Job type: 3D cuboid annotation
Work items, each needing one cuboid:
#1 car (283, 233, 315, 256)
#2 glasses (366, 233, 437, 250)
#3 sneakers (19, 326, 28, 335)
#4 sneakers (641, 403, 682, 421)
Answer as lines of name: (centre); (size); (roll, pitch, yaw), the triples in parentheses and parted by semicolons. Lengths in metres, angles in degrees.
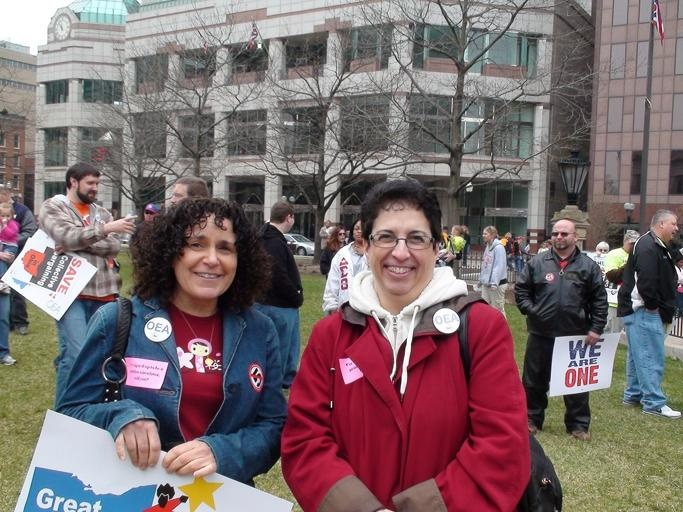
car: (-2.815, -0.653, 39.443); (2.770, 1.059, 1.467); (1, 1, 26)
glasses: (0.317, -0.074, 3.316); (0.330, 0.088, 0.068); (5, 6, 6)
sneakers: (-4.781, 1.114, 9.420); (0.117, 0.129, 0.092); (-2, -1, 10)
sneakers: (3.878, 1.871, 7.608); (0.442, 0.200, 0.172); (-2, -3, 14)
